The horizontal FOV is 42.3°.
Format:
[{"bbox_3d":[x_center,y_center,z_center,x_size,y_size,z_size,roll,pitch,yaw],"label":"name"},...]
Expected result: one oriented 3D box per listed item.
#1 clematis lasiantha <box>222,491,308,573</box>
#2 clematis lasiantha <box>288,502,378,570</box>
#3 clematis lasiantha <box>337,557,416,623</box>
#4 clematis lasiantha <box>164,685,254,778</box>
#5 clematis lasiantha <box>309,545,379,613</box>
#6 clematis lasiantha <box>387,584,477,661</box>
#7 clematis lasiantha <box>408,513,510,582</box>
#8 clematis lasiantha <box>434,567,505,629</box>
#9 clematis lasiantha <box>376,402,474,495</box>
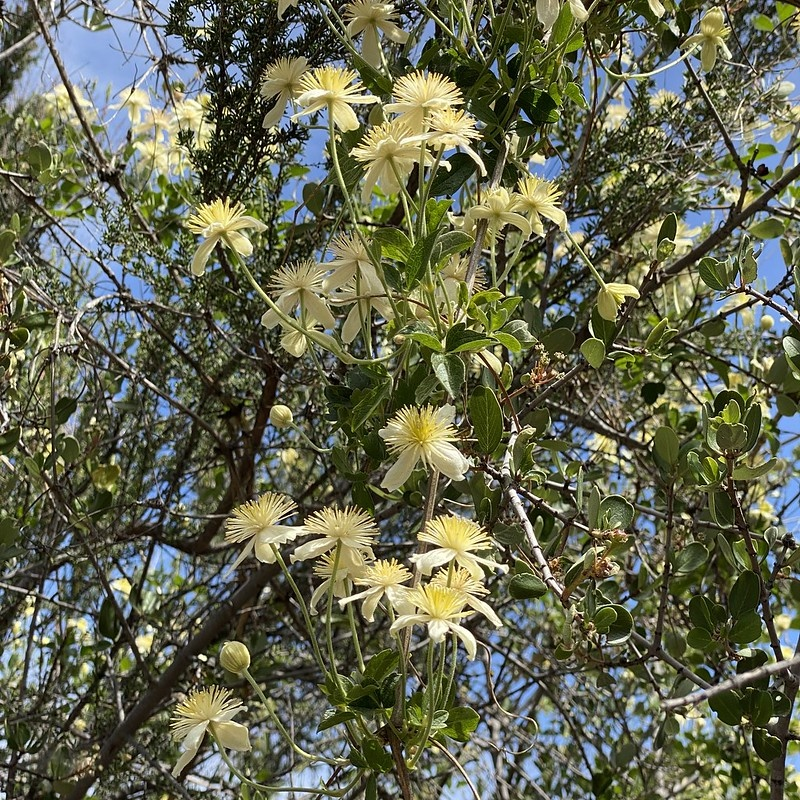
[{"bbox_3d":[-0.214,0.208,1.670,0.116,0.128,0.129,-9,-93,31],"label":"clematis lasiantha"},{"bbox_3d":[-0.090,0.207,1.625,0.104,0.125,0.092,2,-87,27],"label":"clematis lasiantha"},{"bbox_3d":[-0.012,0.280,1.567,0.109,0.085,0.126,0,-3,-4],"label":"clematis lasiantha"},{"bbox_3d":[-0.300,0.526,1.640,0.108,0.123,0.148,3,-79,53],"label":"clematis lasiantha"},{"bbox_3d":[-0.084,0.279,1.647,0.103,0.090,0.109,10,-70,57],"label":"clematis lasiantha"},{"bbox_3d":[0.056,0.314,1.506,0.127,0.103,0.140,6,-4,31],"label":"clematis lasiantha"},{"bbox_3d":[0.081,0.212,1.531,0.095,0.079,0.103,14,3,-22],"label":"clematis lasiantha"},{"bbox_3d":[0.103,0.270,1.546,0.101,0.121,0.054,10,-68,-23],"label":"clematis lasiantha"},{"bbox_3d":[0.032,0.050,1.591,0.126,0.093,0.134,-10,-11,28],"label":"clematis lasiantha"}]
